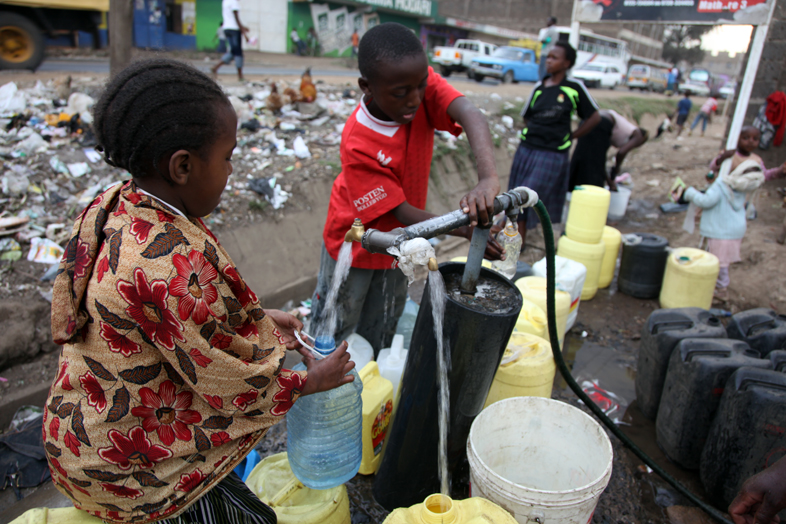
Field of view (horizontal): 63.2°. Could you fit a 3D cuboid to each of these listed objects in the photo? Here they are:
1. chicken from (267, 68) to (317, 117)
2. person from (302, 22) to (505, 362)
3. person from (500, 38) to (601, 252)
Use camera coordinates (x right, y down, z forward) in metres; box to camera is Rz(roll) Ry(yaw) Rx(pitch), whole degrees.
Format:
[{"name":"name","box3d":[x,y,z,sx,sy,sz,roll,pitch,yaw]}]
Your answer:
[{"name":"chicken","box3d":[-1.402,-2.332,8.936,0.573,0.725,0.480,17,23,41]},{"name":"person","box3d":[0.096,-0.325,4.500,1.104,2.300,0.916,9,13,34]},{"name":"person","box3d":[1.772,-1.266,7.219,0.810,2.216,0.767,18,24,36]}]
